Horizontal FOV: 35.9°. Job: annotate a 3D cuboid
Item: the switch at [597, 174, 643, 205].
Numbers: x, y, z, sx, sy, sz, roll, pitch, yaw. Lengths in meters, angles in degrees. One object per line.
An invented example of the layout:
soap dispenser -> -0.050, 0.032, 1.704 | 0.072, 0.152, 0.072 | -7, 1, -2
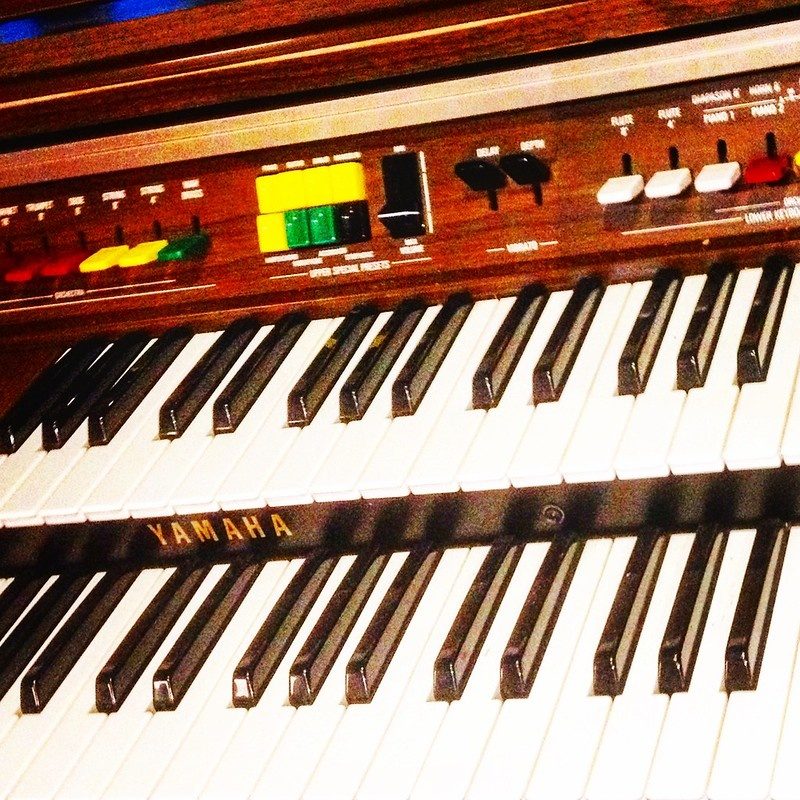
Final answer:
switch -> 0.255, -0.239, 1.430 | 0.048, 0.031, 0.056 | -2, 28, 27

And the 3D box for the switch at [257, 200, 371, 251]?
switch -> -0.107, -0.207, 1.576 | 0.132, 0.058, 0.036 | -7, -6, 11

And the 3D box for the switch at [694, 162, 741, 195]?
switch -> 0.355, -0.242, 1.377 | 0.042, 0.036, 0.058 | 1, 29, 31

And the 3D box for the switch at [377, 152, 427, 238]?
switch -> 0.001, -0.277, 1.544 | 0.061, 0.119, 0.026 | -1, 57, 8

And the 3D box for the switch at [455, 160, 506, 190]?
switch -> 0.099, -0.270, 1.494 | 0.041, 0.042, 0.009 | -4, 24, 17

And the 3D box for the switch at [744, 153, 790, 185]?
switch -> 0.404, -0.248, 1.361 | 0.049, 0.033, 0.038 | -5, 25, 21
